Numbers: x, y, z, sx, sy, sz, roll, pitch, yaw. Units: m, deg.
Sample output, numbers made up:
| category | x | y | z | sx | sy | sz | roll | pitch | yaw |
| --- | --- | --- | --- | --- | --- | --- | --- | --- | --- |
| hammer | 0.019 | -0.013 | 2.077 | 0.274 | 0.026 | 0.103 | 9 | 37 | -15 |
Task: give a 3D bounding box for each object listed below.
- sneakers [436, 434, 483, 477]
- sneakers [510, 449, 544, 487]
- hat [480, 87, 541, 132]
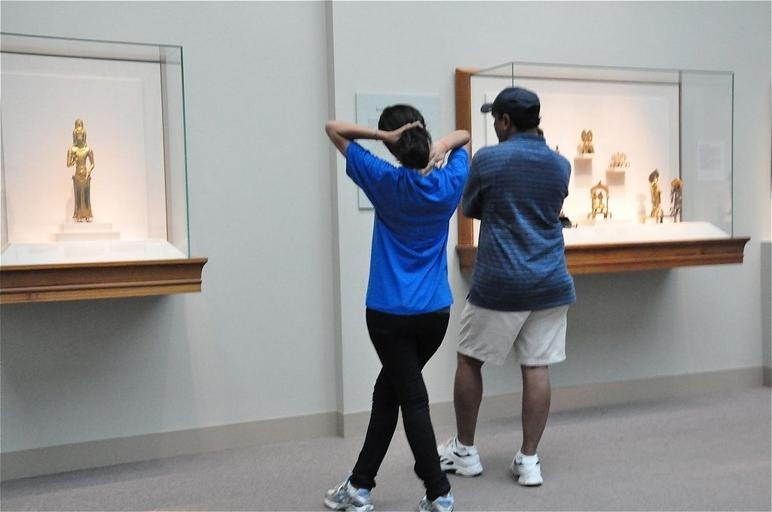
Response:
| category | x | y | z | sx | sy | sz | roll | pitch | yaw |
| --- | --- | --- | --- | --- | --- | --- | --- | --- | --- |
| sneakers | 0.397 | 1.129 | 3.696 | 0.151 | 0.210 | 0.323 | -7 | 0 | -43 |
| sneakers | 0.777 | 1.162 | 3.549 | 0.150 | 0.137 | 0.300 | -3 | 5 | -3 |
| hat | 0.691 | -0.854 | 3.548 | 0.224 | 0.175 | 0.328 | -16 | 33 | -36 |
